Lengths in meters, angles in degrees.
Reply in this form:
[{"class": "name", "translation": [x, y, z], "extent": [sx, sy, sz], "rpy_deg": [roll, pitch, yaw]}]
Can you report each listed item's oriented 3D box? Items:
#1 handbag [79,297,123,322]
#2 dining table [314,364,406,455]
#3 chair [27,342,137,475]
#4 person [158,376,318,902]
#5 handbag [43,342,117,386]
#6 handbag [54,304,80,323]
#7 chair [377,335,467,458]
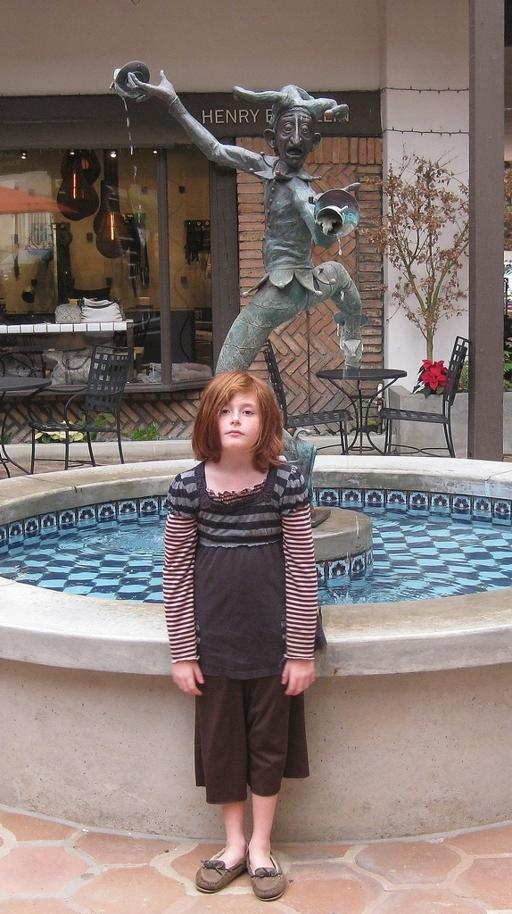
[{"class": "handbag", "translation": [-1.427, -1.340, 8.706], "extent": [0.393, 0.191, 0.239], "rpy_deg": [1, 13, -1]}, {"class": "dining table", "translation": [0.839, -0.375, 7.633], "extent": [0.585, 0.549, 0.609], "rpy_deg": [0, 11, 8]}, {"class": "chair", "translation": [-1.346, -0.423, 8.000], "extent": [0.687, 1.042, 0.686], "rpy_deg": [3, -8, -19]}, {"class": "person", "translation": [-0.033, 0.341, 1.843], "extent": [0.292, 0.980, 0.339], "rpy_deg": [0, 13, -5]}, {"class": "handbag", "translation": [-1.625, -0.840, 8.598], "extent": [0.680, 0.512, 0.244], "rpy_deg": [-3, -1, -7]}, {"class": "handbag", "translation": [-1.743, -1.326, 8.740], "extent": [0.229, 0.155, 0.267], "rpy_deg": [-2, 13, -12]}, {"class": "chair", "translation": [1.210, -0.340, 6.692], "extent": [0.511, 0.832, 0.461], "rpy_deg": [-8, 4, 3]}]
